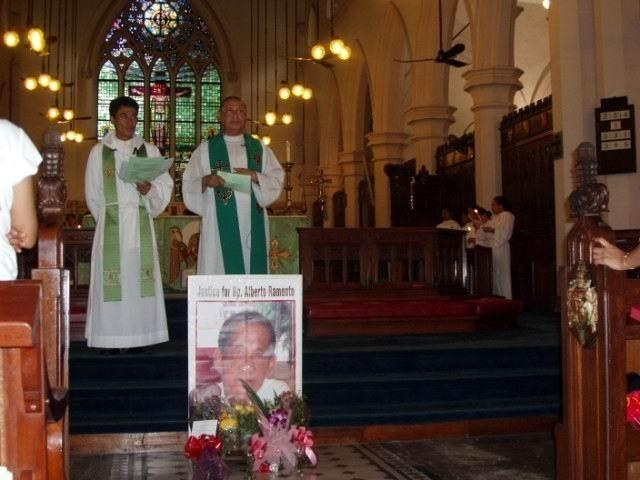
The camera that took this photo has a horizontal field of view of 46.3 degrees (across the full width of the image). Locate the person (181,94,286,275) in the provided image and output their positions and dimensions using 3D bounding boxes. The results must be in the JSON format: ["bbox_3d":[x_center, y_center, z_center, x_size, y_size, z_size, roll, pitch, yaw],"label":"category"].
[{"bbox_3d":[-0.702,-0.415,6.058,0.829,1.380,0.533,-2,-2,-10],"label":"person"}]

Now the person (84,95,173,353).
[{"bbox_3d":[-1.640,-0.150,6.352,0.712,2.070,0.467,-1,-3,-18],"label":"person"}]
